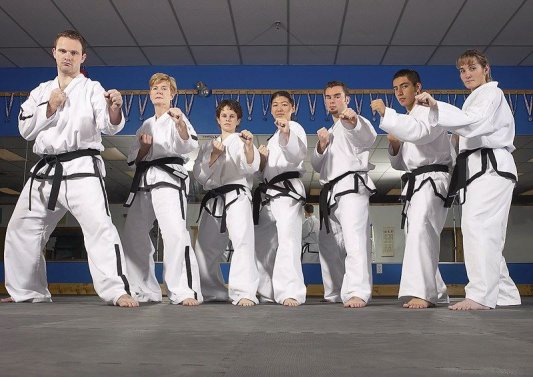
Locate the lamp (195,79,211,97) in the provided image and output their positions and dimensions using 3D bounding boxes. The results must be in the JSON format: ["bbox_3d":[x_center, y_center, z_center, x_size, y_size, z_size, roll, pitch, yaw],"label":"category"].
[{"bbox_3d":[-0.927,-1.523,7.865,0.194,0.194,0.254,24,-17,7],"label":"lamp"}]
